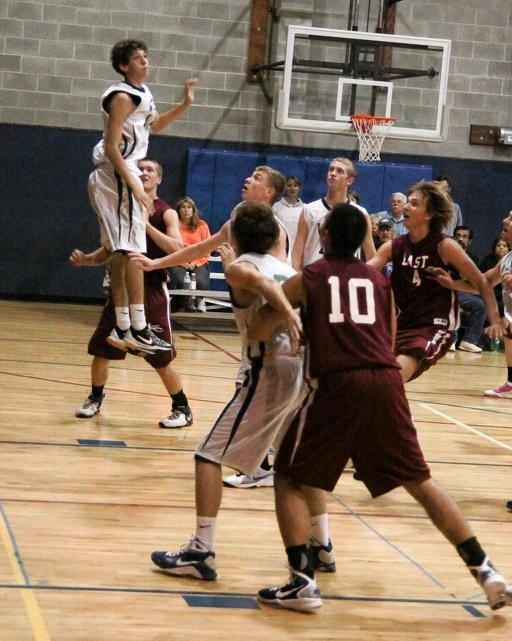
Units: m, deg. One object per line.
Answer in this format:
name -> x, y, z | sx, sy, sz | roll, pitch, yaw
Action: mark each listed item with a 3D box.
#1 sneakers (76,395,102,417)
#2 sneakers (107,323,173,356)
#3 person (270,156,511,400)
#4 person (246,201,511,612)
sneakers -> -1.145, 0.603, 4.697 | 0.093, 0.096, 0.238 | 4, 1, 8
sneakers -> -0.720, 0.127, 4.295 | 0.455, 0.173, 0.151 | 11, 10, -31
person -> 0.683, -0.237, 4.210 | 1.435, 1.510, 0.921 | 6, 0, -14
person -> 0.344, 0.264, 2.103 | 0.786, 0.985, 0.323 | 7, 3, -1
